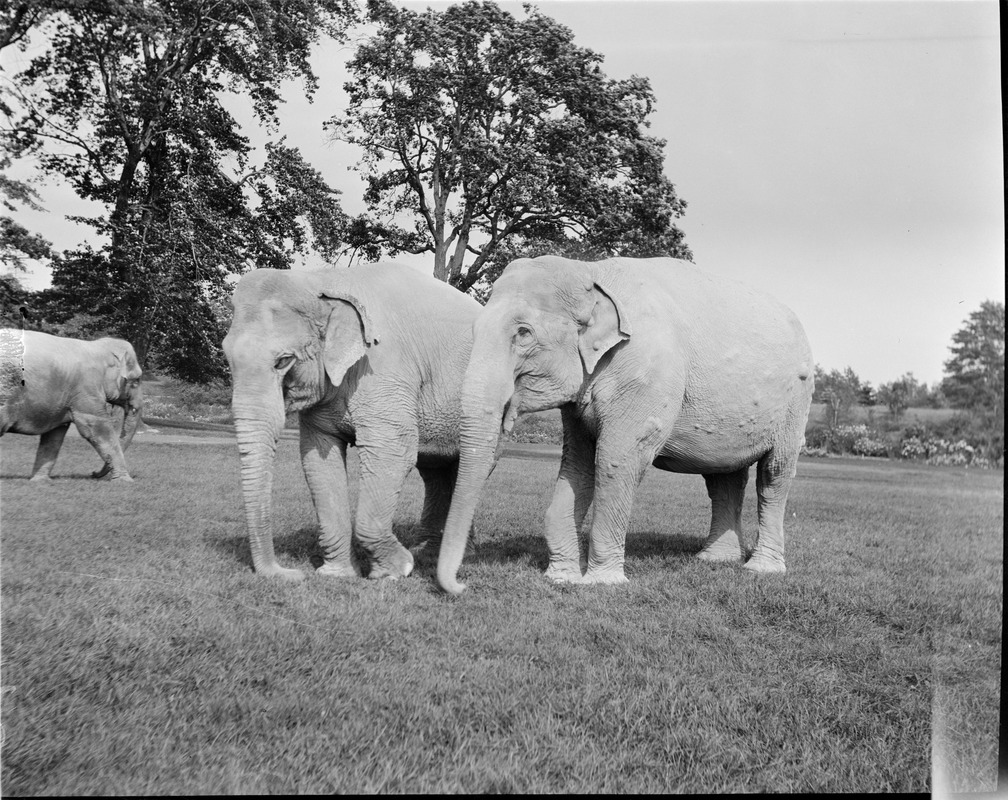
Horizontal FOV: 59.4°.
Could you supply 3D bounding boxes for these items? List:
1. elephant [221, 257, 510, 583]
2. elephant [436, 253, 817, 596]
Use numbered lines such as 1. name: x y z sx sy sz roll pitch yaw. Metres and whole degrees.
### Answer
1. elephant: -0.892 0.151 6.137 0.920 2.199 2.239 -4 -2 36
2. elephant: 0.969 0.073 6.302 2.671 2.535 1.351 0 10 -16
